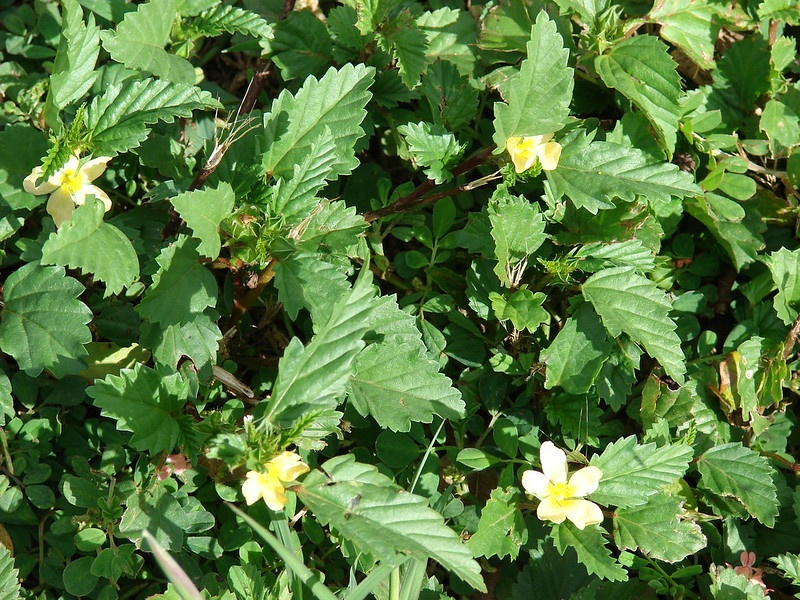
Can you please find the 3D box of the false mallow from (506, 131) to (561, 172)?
[{"bbox_3d":[0.463,-0.512,2.289,0.148,0.064,0.155,-20,91,-17],"label":"false mallow"}]

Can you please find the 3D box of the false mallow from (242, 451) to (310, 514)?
[{"bbox_3d":[-0.372,0.533,1.919,0.180,0.186,0.076,-19,21,-31],"label":"false mallow"}]

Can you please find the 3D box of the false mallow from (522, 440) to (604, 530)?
[{"bbox_3d":[0.548,0.627,2.173,0.275,0.108,0.221,21,57,14],"label":"false mallow"}]

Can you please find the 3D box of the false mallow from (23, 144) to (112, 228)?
[{"bbox_3d":[-1.100,-0.410,2.185,0.205,0.205,0.072,-5,69,-11],"label":"false mallow"}]
